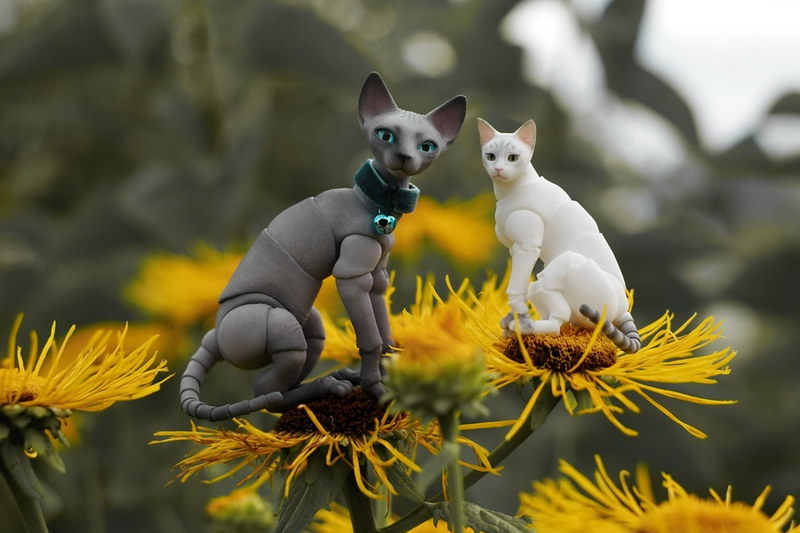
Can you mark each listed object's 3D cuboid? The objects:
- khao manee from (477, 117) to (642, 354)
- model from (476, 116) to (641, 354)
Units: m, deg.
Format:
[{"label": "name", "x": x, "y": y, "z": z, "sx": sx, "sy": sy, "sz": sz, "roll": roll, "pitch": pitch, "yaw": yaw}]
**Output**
[{"label": "khao manee", "x": 0.328, "y": -0.046, "z": 3.010, "sx": 0.411, "sy": 0.656, "sz": 0.411, "roll": 2, "pitch": -4, "yaw": 6}, {"label": "model", "x": 0.320, "y": -0.049, "z": 3.015, "sx": 0.411, "sy": 0.655, "sz": 0.410, "roll": 2, "pitch": -4, "yaw": 5}]
